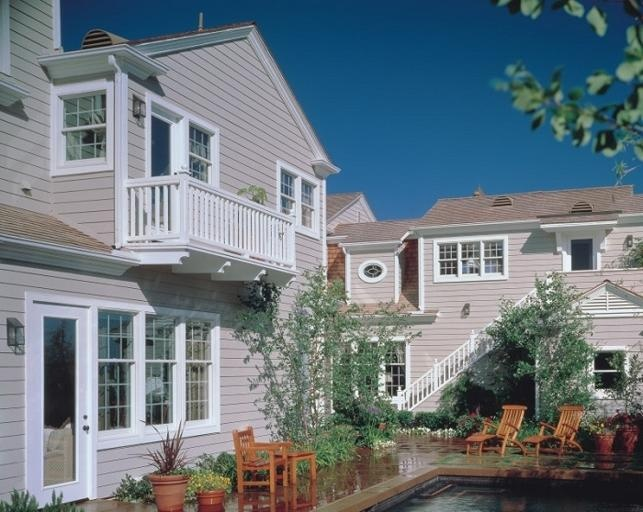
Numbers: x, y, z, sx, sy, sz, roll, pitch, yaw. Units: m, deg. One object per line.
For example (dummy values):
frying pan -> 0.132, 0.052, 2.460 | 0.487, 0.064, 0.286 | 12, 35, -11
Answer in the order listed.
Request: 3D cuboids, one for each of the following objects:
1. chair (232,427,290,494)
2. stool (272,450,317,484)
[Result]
chair -> -1.068, 3.888, 18.102 | 1.000, 1.177, 0.977 | -5, -5, 27
stool -> -0.533, 4.049, 18.451 | 0.723, 0.562, 0.704 | -3, -3, 42
